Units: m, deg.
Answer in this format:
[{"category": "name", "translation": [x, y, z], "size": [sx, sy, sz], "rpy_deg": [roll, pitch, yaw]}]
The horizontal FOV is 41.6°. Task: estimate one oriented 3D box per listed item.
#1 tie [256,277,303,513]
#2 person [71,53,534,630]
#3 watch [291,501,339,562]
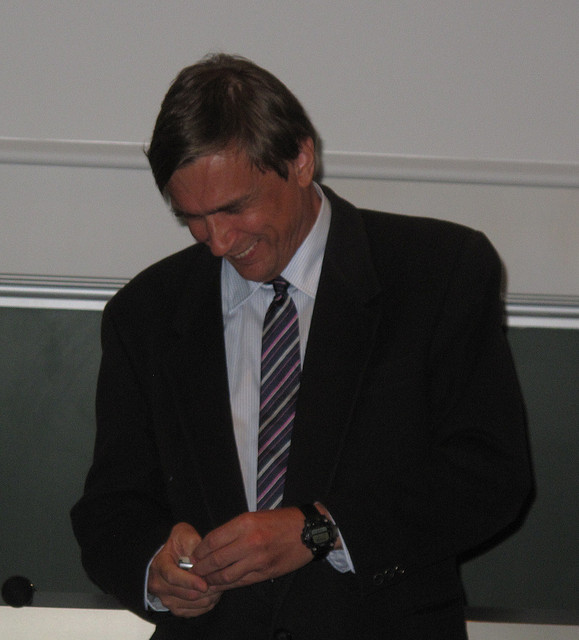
[{"category": "tie", "translation": [-0.018, 0.138, 1.402], "size": [0.079, 0.393, 0.050], "rpy_deg": [-11, -31, 21]}, {"category": "person", "translation": [-0.028, 0.038, 1.396], "size": [0.868, 1.029, 0.556], "rpy_deg": [-3, 21, 15]}, {"category": "watch", "translation": [0.071, 0.373, 1.324], "size": [0.072, 0.092, 0.094], "rpy_deg": [-20, -25, 10]}]
